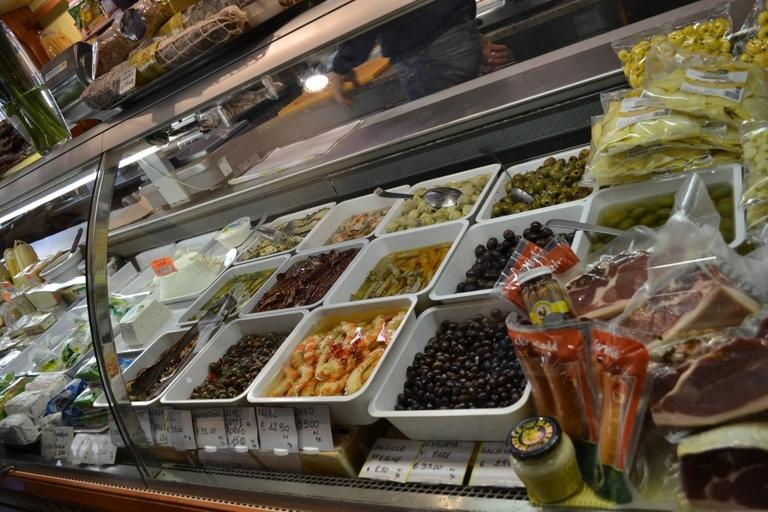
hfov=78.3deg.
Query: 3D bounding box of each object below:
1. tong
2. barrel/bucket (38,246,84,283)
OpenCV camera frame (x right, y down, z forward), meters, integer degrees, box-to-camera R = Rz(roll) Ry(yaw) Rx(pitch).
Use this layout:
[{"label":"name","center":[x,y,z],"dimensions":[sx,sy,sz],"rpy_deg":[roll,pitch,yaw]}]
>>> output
[{"label":"tong","center":[-0.927,0.418,2.266],"dimensions":[0.206,0.141,0.653],"rpy_deg":[8,43,36]},{"label":"barrel/bucket","center":[-1.908,0.076,2.793],"dimensions":[0.267,0.089,0.210],"rpy_deg":[-25,20,10]}]
